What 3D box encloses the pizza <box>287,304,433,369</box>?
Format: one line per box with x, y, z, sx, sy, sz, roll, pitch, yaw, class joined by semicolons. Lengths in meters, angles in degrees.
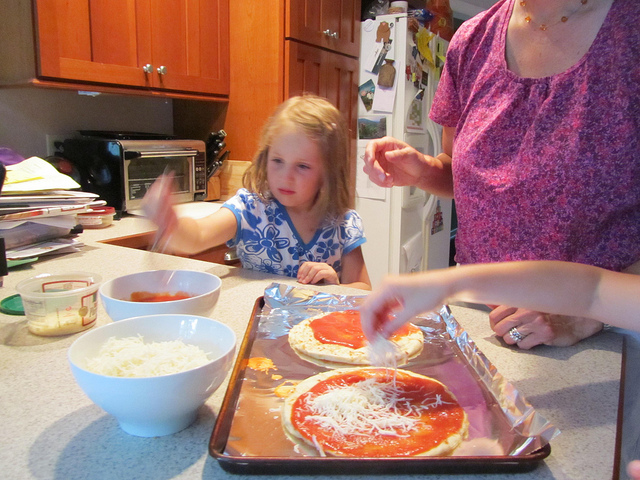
0.072;0.174;0.949;0.207;0.022;0.204;2;16;8;pizza

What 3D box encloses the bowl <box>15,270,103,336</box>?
-0.605;0.127;1.025;0.166;0.100;0.166;0;12;0;bowl

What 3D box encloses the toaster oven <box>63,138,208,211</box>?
-1.169;-0.391;2.636;0.496;0.390;0.653;4;15;6;toaster oven

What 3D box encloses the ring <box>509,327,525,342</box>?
0.435;0.212;0.995;0.029;0.017;0.024;-14;60;-15;ring

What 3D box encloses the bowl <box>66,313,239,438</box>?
-0.273;0.191;0.704;0.220;0.101;0.215;1;14;0;bowl
